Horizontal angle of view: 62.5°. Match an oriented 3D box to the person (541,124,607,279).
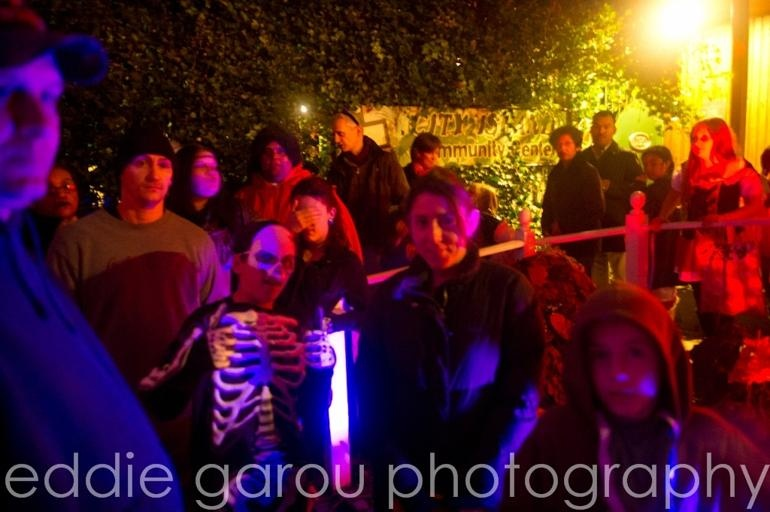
[{"bbox_3d":[1.954,-0.793,6.635,0.286,1.168,0.746,0,3,-33],"label":"person"}]
